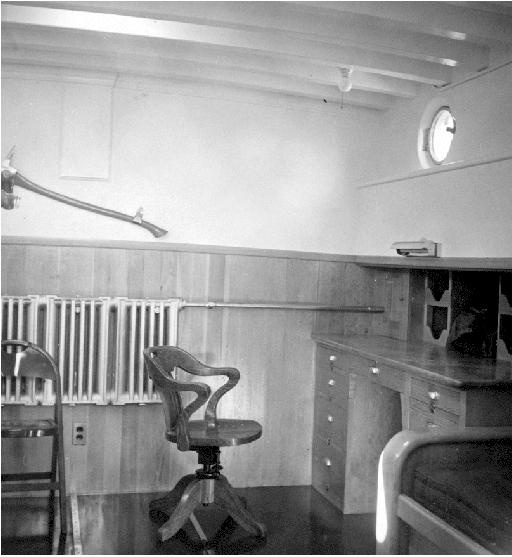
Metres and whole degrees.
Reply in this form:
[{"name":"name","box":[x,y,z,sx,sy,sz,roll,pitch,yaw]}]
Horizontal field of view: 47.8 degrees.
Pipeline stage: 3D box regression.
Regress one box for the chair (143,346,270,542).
[{"name":"chair","box":[-0.113,0.469,1.809,0.380,0.672,0.439,0,0,16]}]
